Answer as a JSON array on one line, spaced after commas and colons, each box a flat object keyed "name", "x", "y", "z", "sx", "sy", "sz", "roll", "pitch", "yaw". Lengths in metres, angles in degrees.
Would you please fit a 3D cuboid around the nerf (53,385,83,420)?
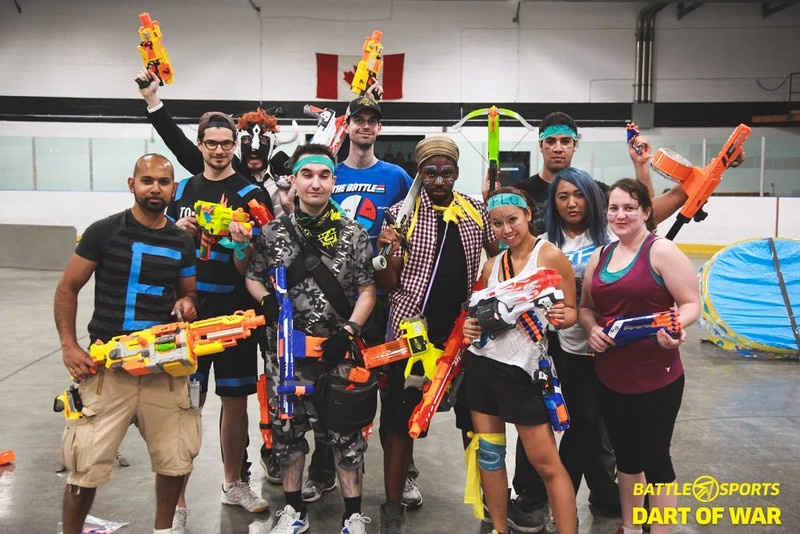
[{"name": "nerf", "x": -2.421, "y": 1.011, "z": 4.587, "sx": 0.177, "sy": 0.177, "sz": 0.163, "roll": -10, "pitch": -2, "yaw": -17}]

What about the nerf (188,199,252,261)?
[{"name": "nerf", "x": -1.431, "y": -0.264, "z": 4.882, "sx": 0.517, "sy": 0.451, "sz": 0.135, "roll": 12, "pitch": 7, "yaw": 28}]

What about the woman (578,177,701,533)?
[{"name": "woman", "x": 1.751, "y": 0.759, "z": 4.658, "sx": 0.812, "sy": 2.798, "sz": 0.467, "roll": 4, "pitch": 12, "yaw": 23}]

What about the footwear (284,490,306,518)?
[{"name": "footwear", "x": -0.832, "y": 1.814, "z": 4.868, "sx": 0.095, "sy": 0.284, "sz": 0.123, "roll": -10, "pitch": 6, "yaw": 5}]

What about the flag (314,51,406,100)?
[{"name": "flag", "x": -0.888, "y": -5.738, "z": 18.681, "sx": 1.919, "sy": 0.838, "sz": 4.095, "roll": 16, "pitch": 8, "yaw": 16}]

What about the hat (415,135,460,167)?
[{"name": "hat", "x": 0.288, "y": -0.937, "z": 5.017, "sx": 0.243, "sy": 0.206, "sz": 0.292, "roll": -1, "pitch": -21, "yaw": 1}]

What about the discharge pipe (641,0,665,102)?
[{"name": "discharge pipe", "x": 6.944, "y": -5.957, "z": 17.520, "sx": 0.650, "sy": 2.691, "sz": 0.477, "roll": 0, "pitch": 11, "yaw": 4}]

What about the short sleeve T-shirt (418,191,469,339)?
[{"name": "short sleeve T-shirt", "x": 0.343, "y": 0.032, "z": 5.082, "sx": 0.312, "sy": 1.063, "sz": 0.422, "roll": 1, "pitch": -1, "yaw": 1}]

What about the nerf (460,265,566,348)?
[{"name": "nerf", "x": 0.823, "y": 0.364, "z": 4.622, "sx": 0.816, "sy": 0.495, "sz": 0.248, "roll": -20, "pitch": -8, "yaw": 37}]

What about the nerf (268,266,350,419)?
[{"name": "nerf", "x": -0.690, "y": 0.510, "z": 4.761, "sx": 0.259, "sy": 1.229, "sz": 0.522, "roll": -3, "pitch": -11, "yaw": 0}]

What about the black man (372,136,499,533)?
[{"name": "black man", "x": 0.350, "y": 0.435, "z": 5.298, "sx": 1.190, "sy": 3.267, "sz": 0.790, "roll": 0, "pitch": -5, "yaw": 10}]

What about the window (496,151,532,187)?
[{"name": "window", "x": 3.110, "y": -2.598, "z": 17.042, "sx": 0.857, "sy": 1.395, "sz": 0.898, "roll": 4, "pitch": 5, "yaw": 38}]

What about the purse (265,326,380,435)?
[{"name": "purse", "x": -0.531, "y": 0.806, "z": 5.030, "sx": 1.012, "sy": 0.929, "sz": 0.728, "roll": -1, "pitch": 20, "yaw": 8}]

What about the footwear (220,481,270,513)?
[{"name": "footwear", "x": -1.351, "y": 1.973, "z": 5.401, "sx": 0.497, "sy": 0.225, "sz": 0.183, "roll": 7, "pitch": 2, "yaw": 13}]

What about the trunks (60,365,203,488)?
[{"name": "trunks", "x": -2.037, "y": 1.207, "z": 4.740, "sx": 1.179, "sy": 1.070, "sz": 0.455, "roll": 3, "pitch": -16, "yaw": -20}]

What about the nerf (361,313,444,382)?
[{"name": "nerf", "x": 0.053, "y": 0.685, "z": 4.826, "sx": 0.682, "sy": 0.557, "sz": 0.142, "roll": -12, "pitch": -27, "yaw": 7}]

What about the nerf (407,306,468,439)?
[{"name": "nerf", "x": 0.296, "y": 0.840, "z": 4.848, "sx": 0.517, "sy": 0.942, "sz": 0.282, "roll": -3, "pitch": 11, "yaw": -14}]

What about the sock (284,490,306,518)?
[{"name": "sock", "x": -0.809, "y": 1.803, "z": 4.873, "sx": 0.095, "sy": 0.284, "sz": 0.123, "roll": -10, "pitch": 6, "yaw": 5}]

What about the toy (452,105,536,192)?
[{"name": "toy", "x": 0.888, "y": -1.065, "z": 6.008, "sx": 0.729, "sy": 0.334, "sz": 1.131, "roll": 4, "pitch": -38, "yaw": 9}]

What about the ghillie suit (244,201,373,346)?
[{"name": "ghillie suit", "x": -0.716, "y": 0.059, "z": 4.987, "sx": 1.022, "sy": 1.003, "sz": 0.553, "roll": 2, "pitch": 8, "yaw": -4}]

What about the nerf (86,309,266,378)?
[{"name": "nerf", "x": -1.722, "y": 0.564, "z": 4.683, "sx": 1.286, "sy": 0.455, "sz": 0.309, "roll": -11, "pitch": 11, "yaw": -4}]

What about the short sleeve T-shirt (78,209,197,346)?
[{"name": "short sleeve T-shirt", "x": -1.935, "y": 0.078, "z": 4.676, "sx": 0.981, "sy": 0.984, "sz": 0.534, "roll": 10, "pitch": 2, "yaw": -28}]
